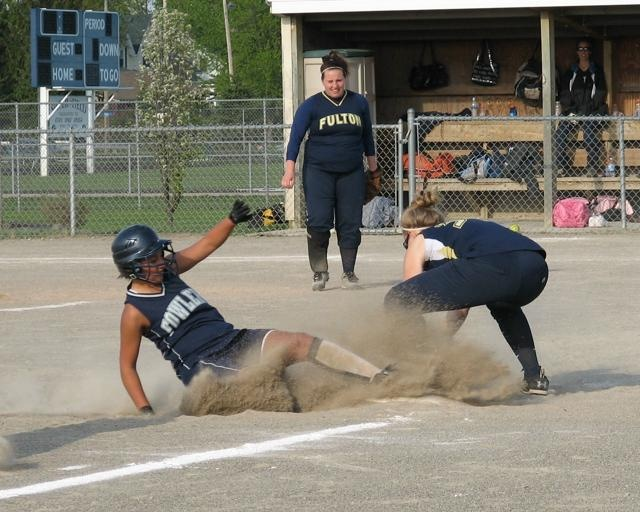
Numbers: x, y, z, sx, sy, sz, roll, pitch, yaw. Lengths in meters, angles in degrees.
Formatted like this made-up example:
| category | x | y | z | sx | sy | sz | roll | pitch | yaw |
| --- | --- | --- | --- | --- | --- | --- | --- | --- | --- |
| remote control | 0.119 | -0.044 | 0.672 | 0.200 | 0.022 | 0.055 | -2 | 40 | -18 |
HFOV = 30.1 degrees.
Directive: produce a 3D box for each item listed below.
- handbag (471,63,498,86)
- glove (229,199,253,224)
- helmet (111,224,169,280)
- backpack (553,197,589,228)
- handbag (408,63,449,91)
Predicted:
| category | x | y | z | sx | sy | sz | roll | pitch | yaw |
| --- | --- | --- | --- | --- | --- | --- | --- | --- | --- |
| handbag | 2.831 | -3.087 | 20.181 | 0.396 | 0.429 | 0.166 | 5 | 24 | 11 |
| glove | -0.539 | -0.288 | 8.088 | 0.195 | 0.057 | 0.137 | -2 | 27 | 3 |
| helmet | -1.185 | -0.031 | 7.864 | 0.427 | 0.268 | 0.318 | 2 | 11 | 17 |
| backpack | 3.641 | -0.619 | 17.109 | 0.517 | 0.396 | 0.341 | 0 | 11 | 10 |
| handbag | 1.901 | -3.076 | 20.391 | 0.550 | 0.455 | 0.236 | 1 | 15 | 17 |
